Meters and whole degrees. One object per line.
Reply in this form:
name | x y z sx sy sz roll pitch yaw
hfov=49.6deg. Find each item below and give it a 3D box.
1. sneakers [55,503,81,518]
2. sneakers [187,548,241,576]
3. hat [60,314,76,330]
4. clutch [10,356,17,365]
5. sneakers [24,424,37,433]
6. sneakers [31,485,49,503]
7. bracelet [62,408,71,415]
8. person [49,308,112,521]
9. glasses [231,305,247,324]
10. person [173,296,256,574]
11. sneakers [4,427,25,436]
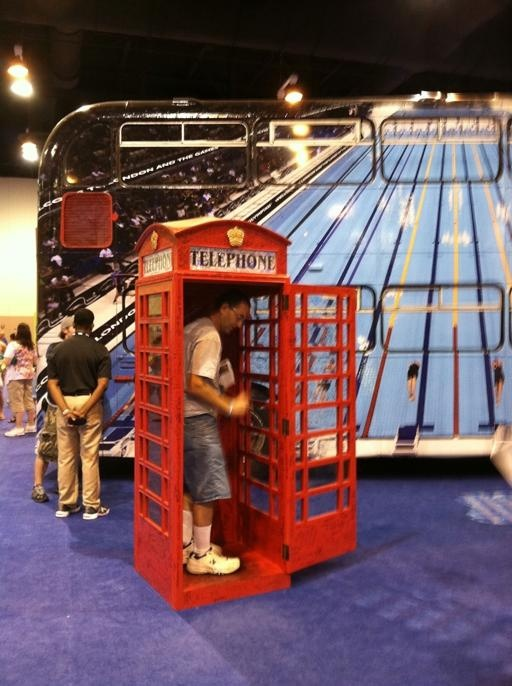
sneakers | -1.687 1.482 4.968 0.078 0.105 0.225 3 6 16
sneakers | -0.269 1.403 3.504 0.309 0.164 0.149 1 1 -4
hat | -1.798 -0.204 5.367 0.116 0.149 0.161 8 23 35
clutch | -3.702 0.267 8.486 0.088 0.172 0.109 1 4 -21
sneakers | -3.769 1.438 9.289 0.179 0.176 0.391 0 6 -18
sneakers | -2.099 1.473 5.448 0.171 0.178 0.122 8 2 10
bracelet | -1.549 0.558 4.559 0.060 0.045 0.057 -27 22 8
person | -1.510 0.729 4.761 0.499 1.622 0.511 0 0 -16
glasses | -0.110 -0.201 3.625 0.087 0.056 0.112 -35 5 -5
person | -0.246 0.577 3.522 0.423 1.782 0.497 0 0 -8
sneakers | -3.824 1.405 8.884 0.349 0.163 0.137 -1 4 -15
